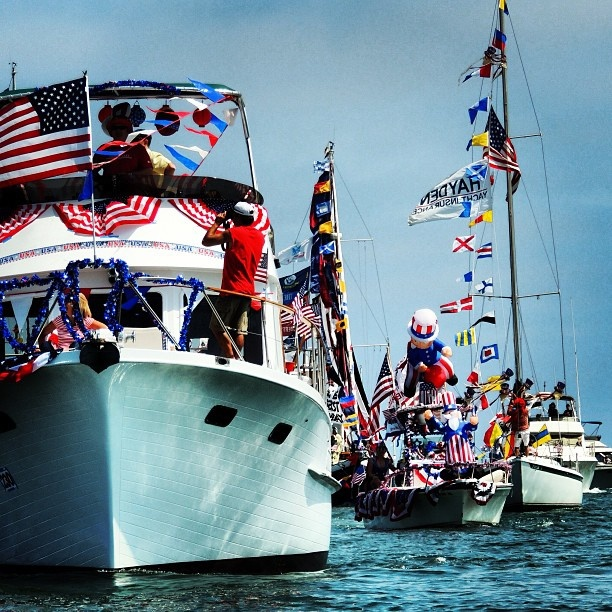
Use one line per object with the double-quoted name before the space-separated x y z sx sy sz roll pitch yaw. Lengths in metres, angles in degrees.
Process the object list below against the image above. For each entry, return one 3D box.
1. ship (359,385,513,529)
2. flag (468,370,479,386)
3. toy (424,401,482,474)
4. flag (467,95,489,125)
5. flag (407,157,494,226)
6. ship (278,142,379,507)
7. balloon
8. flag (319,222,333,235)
"ship" 2.610 3.311 21.620 2.428 2.453 5.929 2 -18 -7
"flag" 4.279 1.840 27.270 0.245 0.374 0.663 12 -1 8
"toy" 2.794 2.406 20.271 0.939 1.356 0.423 -9 13 7
"flag" 4.319 -4.918 26.710 0.458 0.743 1.268 12 -1 7
"flag" 3.512 -2.666 24.995 1.750 1.645 0.713 13 -1 -3
"ship" 0.687 -0.659 33.357 1.786 8.632 8.499 4 -4 12
"balloon" 2.303 0.900 20.404 0.977 1.648 0.830 -7 20 2
"flag" 0.679 -2.478 33.864 0.412 0.410 0.337 6 -2 14
